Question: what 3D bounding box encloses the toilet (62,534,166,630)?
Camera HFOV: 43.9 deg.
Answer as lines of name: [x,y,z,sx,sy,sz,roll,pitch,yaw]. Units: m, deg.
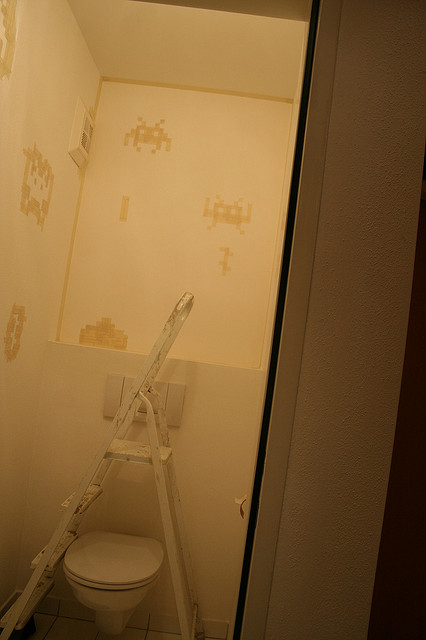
toilet: [-0.311,0.845,1.620,0.257,0.265,0.349,7,0,6]
